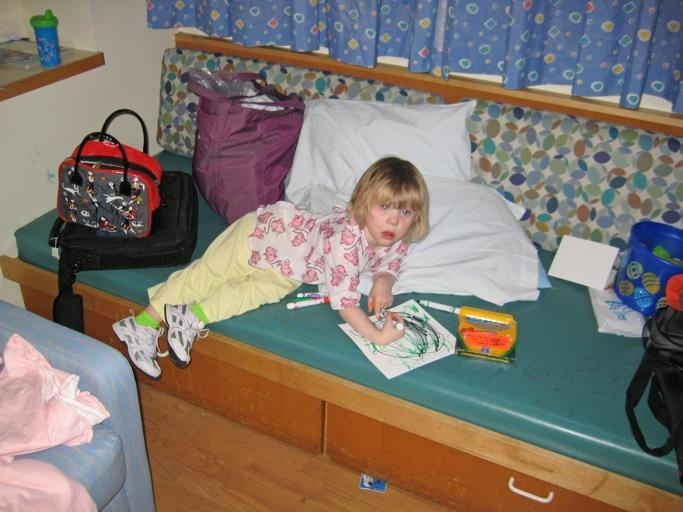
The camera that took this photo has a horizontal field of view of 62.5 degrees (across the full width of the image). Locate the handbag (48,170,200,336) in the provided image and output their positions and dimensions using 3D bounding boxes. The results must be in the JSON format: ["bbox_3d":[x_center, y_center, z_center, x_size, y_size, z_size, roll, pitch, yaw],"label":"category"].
[{"bbox_3d":[-0.821,-0.029,2.280,0.558,0.214,0.607,0,69,-2],"label":"handbag"}]

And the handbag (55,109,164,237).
[{"bbox_3d":[-0.876,-0.320,2.135,0.370,0.428,0.163,14,34,-3],"label":"handbag"}]

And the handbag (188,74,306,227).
[{"bbox_3d":[-0.448,-0.488,2.468,0.376,0.577,0.565,-15,38,-42],"label":"handbag"}]

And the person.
[{"bbox_3d":[-0.199,0.057,2.117,1.145,0.516,0.681,-4,58,-4],"label":"person"}]
